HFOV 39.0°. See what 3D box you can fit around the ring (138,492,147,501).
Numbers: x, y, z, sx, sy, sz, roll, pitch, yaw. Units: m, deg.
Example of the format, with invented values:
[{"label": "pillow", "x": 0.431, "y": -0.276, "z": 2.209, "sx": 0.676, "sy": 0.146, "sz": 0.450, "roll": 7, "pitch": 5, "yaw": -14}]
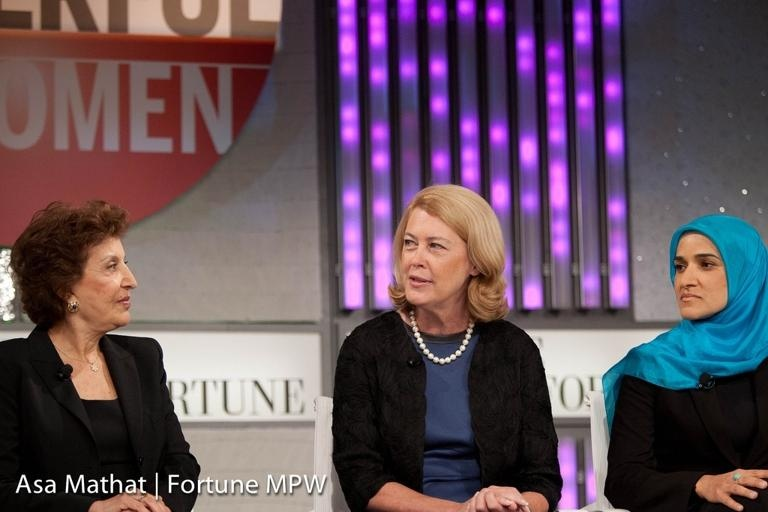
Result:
[{"label": "ring", "x": -0.995, "y": 0.986, "z": 4.442, "sx": 0.022, "sy": 0.033, "sz": 0.031, "roll": -4, "pitch": -1, "yaw": -14}]
